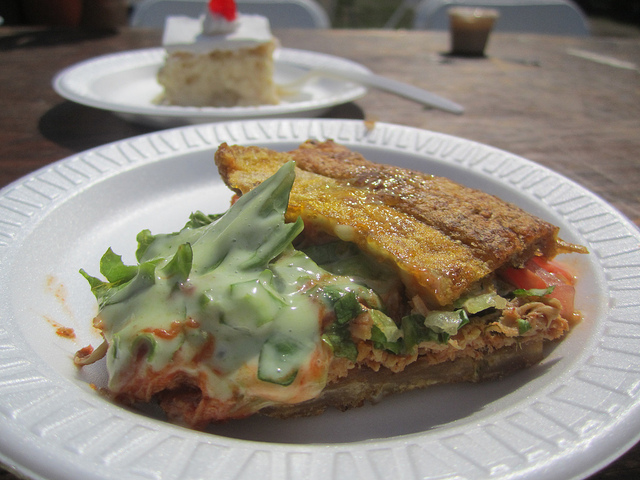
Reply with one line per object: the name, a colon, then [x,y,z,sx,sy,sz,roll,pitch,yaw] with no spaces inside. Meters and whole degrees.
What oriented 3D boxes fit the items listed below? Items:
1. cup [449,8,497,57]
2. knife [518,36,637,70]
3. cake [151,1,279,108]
cup: [1.035,-1.467,4.351,0.463,0.247,0.355,-4,31,-5]
knife: [1.514,-1.194,3.862,0.151,0.042,0.998,7,15,-42]
cake: [-0.701,-1.237,3.999,0.814,0.627,0.616,-2,45,-4]
